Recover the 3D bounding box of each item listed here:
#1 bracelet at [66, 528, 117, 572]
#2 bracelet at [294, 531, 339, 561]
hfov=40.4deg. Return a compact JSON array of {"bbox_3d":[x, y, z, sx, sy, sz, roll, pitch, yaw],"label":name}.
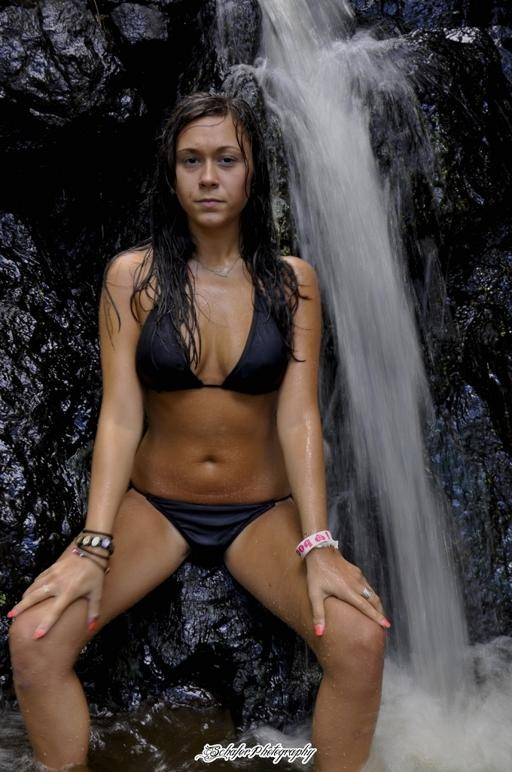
[{"bbox_3d":[-0.474,0.464,2.033,0.120,0.085,0.102,36,49,-1],"label":"bracelet"},{"bbox_3d":[0.176,0.462,2.042,0.096,0.089,0.035,-5,61,-37],"label":"bracelet"}]
